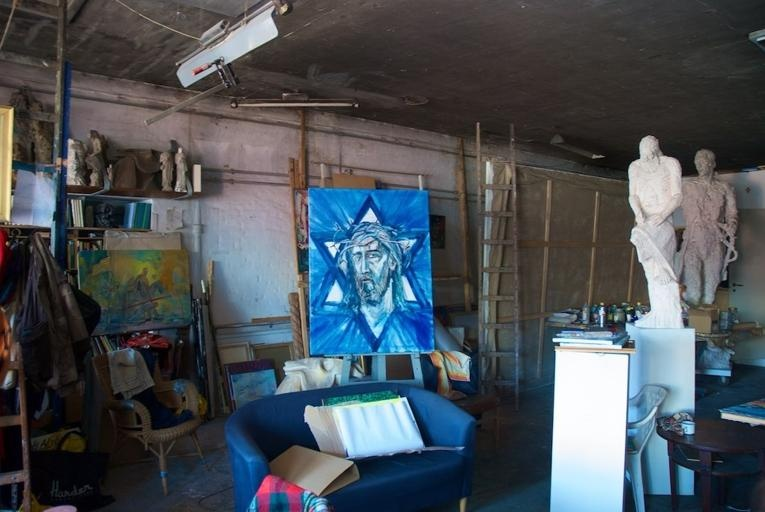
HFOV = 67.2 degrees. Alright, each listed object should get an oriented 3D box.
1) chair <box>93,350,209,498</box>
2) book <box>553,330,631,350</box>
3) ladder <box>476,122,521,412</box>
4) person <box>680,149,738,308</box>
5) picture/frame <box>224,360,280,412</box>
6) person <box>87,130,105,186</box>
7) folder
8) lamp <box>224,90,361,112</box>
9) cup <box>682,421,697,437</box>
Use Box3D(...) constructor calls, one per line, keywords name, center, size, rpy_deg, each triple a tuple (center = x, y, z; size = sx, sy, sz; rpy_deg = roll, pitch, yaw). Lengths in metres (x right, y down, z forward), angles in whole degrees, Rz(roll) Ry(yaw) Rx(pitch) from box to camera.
Box3D(name="chair", center=(-2.285, 1.631, 5.929), size=(0.819, 1.359, 0.842), rpy_deg=(-3, -2, 20))
Box3D(name="book", center=(1.842, 0.729, 5.104), size=(0.643, 0.139, 0.337), rpy_deg=(-2, -2, 11))
Box3D(name="ladder", center=(1.566, 0.063, 7.868), size=(0.605, 3.773, 0.900), rpy_deg=(-2, -2, 11))
Box3D(name="person", center=(4.667, -0.361, 8.193), size=(0.765, 1.623, 0.855), rpy_deg=(-2, -2, 3))
Box3D(name="picture/frame", center=(-1.599, 1.567, 6.909), size=(0.715, 0.723, 0.110), rpy_deg=(8, -26, -32))
Box3D(name="person", center=(-3.307, -1.140, 6.683), size=(0.207, 0.683, 0.141), rpy_deg=(-1, -2, -23))
Box3D(name="folder", center=(-0.572, 1.773, 4.790), size=(0.486, 0.112, 0.352), rpy_deg=(9, 17, 35))
Box3D(name="lamp", center=(-1.143, -2.028, 7.620), size=(1.689, 0.176, 0.652), rpy_deg=(-1, -2, -12))
Box3D(name="cup", center=(2.636, 1.498, 4.987), size=(0.085, 0.081, 0.124), rpy_deg=(-2, -5, 8))
